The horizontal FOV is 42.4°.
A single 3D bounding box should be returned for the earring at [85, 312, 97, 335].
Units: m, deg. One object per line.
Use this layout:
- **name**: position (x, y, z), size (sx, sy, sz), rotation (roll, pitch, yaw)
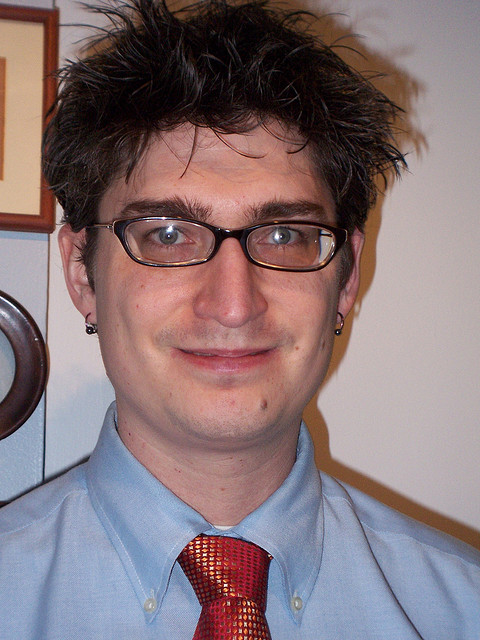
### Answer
- **earring**: position (-0.296, 0.006, 1.242), size (0.033, 0.038, 0.014), rotation (3, 8, 9)
